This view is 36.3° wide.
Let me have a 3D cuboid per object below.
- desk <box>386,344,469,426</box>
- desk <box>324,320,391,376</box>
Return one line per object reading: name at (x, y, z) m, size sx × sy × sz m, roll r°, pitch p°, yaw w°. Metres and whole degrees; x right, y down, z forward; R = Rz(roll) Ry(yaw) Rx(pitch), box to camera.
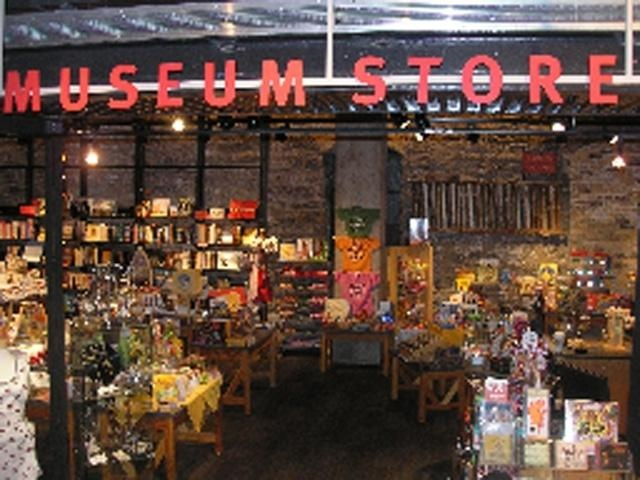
desk at (1.767, 1.977, 13.733) m, size 0.644 × 0.676 × 1.401 m, roll -2°, pitch 7°, yaw 12°
desk at (0.533, 1.667, 15.163) m, size 1.084 × 0.668 × 0.786 m, roll 0°, pitch -3°, yaw 2°
